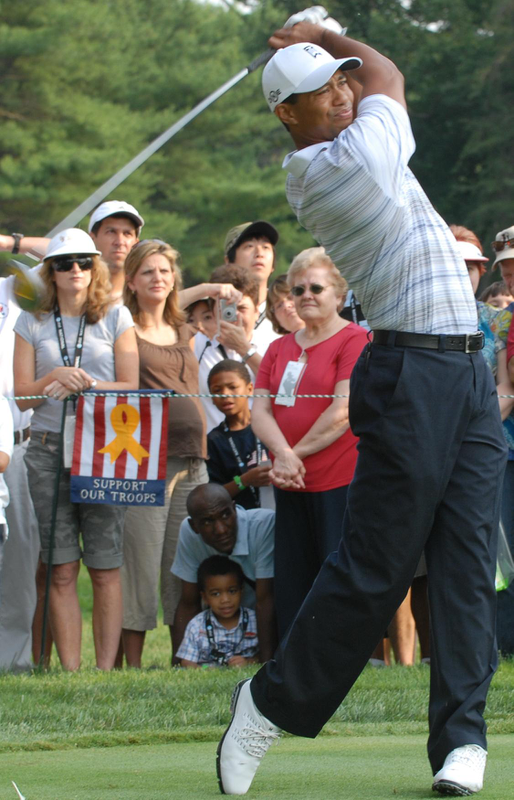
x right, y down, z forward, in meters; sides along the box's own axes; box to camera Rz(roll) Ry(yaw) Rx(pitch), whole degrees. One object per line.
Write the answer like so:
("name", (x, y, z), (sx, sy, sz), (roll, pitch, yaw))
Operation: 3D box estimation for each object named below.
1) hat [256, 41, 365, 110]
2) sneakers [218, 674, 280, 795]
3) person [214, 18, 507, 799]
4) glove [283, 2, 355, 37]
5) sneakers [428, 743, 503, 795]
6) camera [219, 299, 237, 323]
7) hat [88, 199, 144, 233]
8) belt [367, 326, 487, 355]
("hat", (0.143, -0.913, 3.678), (0.259, 0.119, 0.173), (-12, 18, 40))
("sneakers", (0.005, 0.913, 3.592), (0.150, 0.292, 0.118), (-14, -36, 33))
("person", (0.277, -0.026, 3.575), (0.753, 2.125, 0.319), (-1, -2, 7))
("glove", (0.174, -1.097, 3.815), (0.156, 0.034, 0.137), (12, 7, 12))
("sneakers", (0.521, 0.958, 3.425), (0.138, 0.109, 0.133), (-1, -2, 6))
("camera", (-0.144, -0.429, 6.490), (0.107, 0.103, 0.044), (-1, 0, 0))
("hat", (-0.725, -0.957, 6.806), (0.208, 0.105, 0.244), (7, -5, -15))
("belt", (0.463, -0.157, 3.614), (0.303, 0.071, 0.120), (0, -2, 3))
